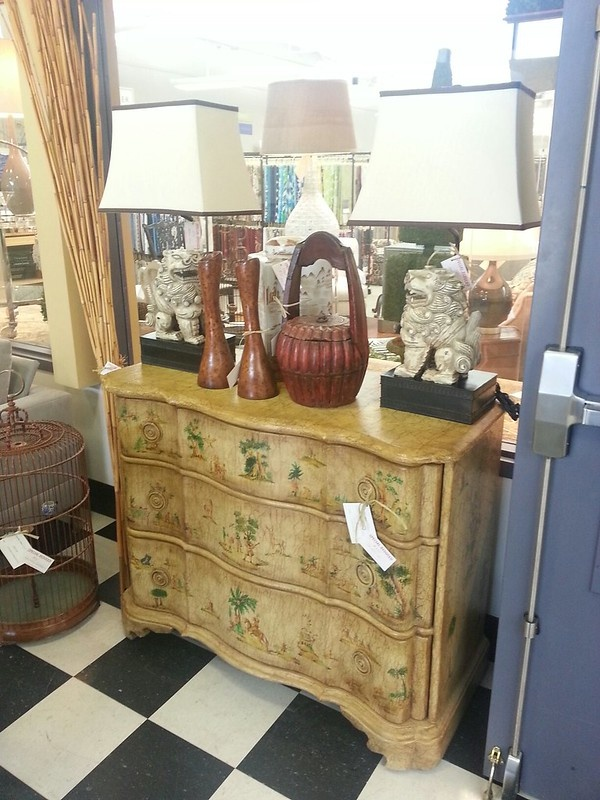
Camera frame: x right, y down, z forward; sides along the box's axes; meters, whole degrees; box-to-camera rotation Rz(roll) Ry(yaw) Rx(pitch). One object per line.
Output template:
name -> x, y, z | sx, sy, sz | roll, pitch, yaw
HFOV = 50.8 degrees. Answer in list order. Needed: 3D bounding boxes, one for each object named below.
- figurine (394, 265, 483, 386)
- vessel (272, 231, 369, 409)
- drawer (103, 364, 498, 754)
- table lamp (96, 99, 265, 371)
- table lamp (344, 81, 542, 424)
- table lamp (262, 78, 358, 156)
figurine -> 0.319, -0.196, 1.533 | 0.268, 0.346, 0.204 | 0, 26, 7
vessel -> 0.063, -0.212, 1.596 | 0.238, 0.404, 0.233 | 15, 26, 36
drawer -> 0.022, 0.423, 1.676 | 0.901, 0.738, 0.420 | 11, 23, 33
table lamp -> -0.329, -0.598, 1.696 | 0.340, 0.458, 0.340 | 7, 22, 15
table lamp -> 0.289, -0.363, 1.249 | 0.463, 0.647, 0.270 | 10, 27, 21
table lamp -> 0.030, -0.954, 2.152 | 0.372, 0.221, 0.363 | -7, 22, -17
